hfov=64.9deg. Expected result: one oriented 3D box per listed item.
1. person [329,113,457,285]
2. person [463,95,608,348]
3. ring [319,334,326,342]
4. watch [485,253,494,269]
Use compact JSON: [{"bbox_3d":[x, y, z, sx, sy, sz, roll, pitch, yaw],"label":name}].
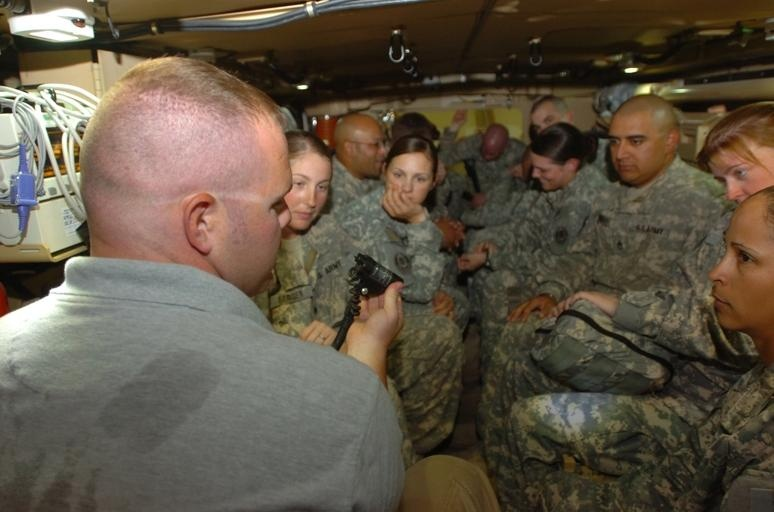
[{"bbox_3d":[0.017,-0.320,3.607,0.662,1.112,0.757,11,50,9],"label":"person"},{"bbox_3d":[1.269,-0.132,4.579,0.727,1.128,1.905,-17,17,2],"label":"person"},{"bbox_3d":[-0.245,0.312,2.304,0.025,0.024,0.024,10,-4,1],"label":"ring"},{"bbox_3d":[0.743,0.048,4.408,0.028,0.096,0.069,7,13,-12],"label":"watch"}]
